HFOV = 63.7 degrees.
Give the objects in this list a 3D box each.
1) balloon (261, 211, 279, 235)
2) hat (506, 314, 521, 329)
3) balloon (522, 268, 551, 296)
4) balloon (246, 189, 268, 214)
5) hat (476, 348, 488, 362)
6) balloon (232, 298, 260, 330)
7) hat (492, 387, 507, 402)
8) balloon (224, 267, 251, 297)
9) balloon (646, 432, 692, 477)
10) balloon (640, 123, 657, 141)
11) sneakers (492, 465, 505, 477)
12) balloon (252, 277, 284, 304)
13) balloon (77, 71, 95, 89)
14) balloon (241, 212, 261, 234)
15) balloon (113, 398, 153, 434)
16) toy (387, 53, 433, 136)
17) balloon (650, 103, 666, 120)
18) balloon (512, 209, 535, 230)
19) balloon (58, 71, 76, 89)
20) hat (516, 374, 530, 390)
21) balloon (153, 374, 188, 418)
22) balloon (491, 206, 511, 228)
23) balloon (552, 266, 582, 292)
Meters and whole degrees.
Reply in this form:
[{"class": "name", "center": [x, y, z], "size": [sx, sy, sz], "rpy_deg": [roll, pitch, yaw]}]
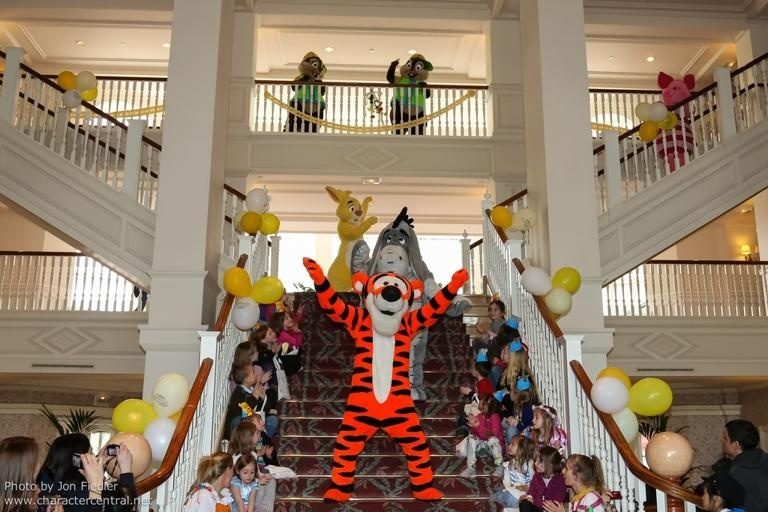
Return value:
[{"class": "balloon", "center": [-1.476, -0.443, 7.993], "size": [0.227, 0.312, 0.513], "rpy_deg": [4, -17, -11]}, {"class": "hat", "center": [1.506, 0.765, 7.206], "size": [0.181, 0.141, 0.140], "rpy_deg": [30, 9, -47]}, {"class": "balloon", "center": [1.763, 0.290, 7.030], "size": [0.352, 0.297, 0.236], "rpy_deg": [0, -17, -1]}, {"class": "balloon", "center": [-1.675, -0.735, 7.955], "size": [0.288, 0.352, 0.288], "rpy_deg": [10, -8, -42]}, {"class": "hat", "center": [1.134, 1.127, 7.068], "size": [0.139, 0.153, 0.144], "rpy_deg": [6, -13, -14]}, {"class": "balloon", "center": [-1.546, 0.660, 6.935], "size": [0.312, 0.386, 0.318], "rpy_deg": [2, -13, -15]}, {"class": "hat", "center": [1.233, 1.468, 6.571], "size": [0.119, 0.146, 0.215], "rpy_deg": [-13, -21, 37]}, {"class": "balloon", "center": [-1.666, 0.287, 7.062], "size": [0.307, 0.361, 0.215], "rpy_deg": [4, -17, -12]}, {"class": "balloon", "center": [2.550, 1.769, 5.501], "size": [0.389, 0.395, 0.299], "rpy_deg": [-5, -18, 16]}, {"class": "balloon", "center": [3.994, -1.848, 9.293], "size": [0.273, 0.298, 0.189], "rpy_deg": [-7, -18, 24]}, {"class": "sneakers", "center": [1.154, 2.171, 6.257], "size": [0.124, 0.122, 0.042], "rpy_deg": [-7, -18, 21]}, {"class": "balloon", "center": [-1.344, 0.383, 7.237], "size": [0.249, 0.342, 0.403], "rpy_deg": [-15, -22, 41]}, {"class": "balloon", "center": [-4.382, -2.581, 9.106], "size": [0.248, 0.262, 0.259], "rpy_deg": [-7, 13, -20]}, {"class": "balloon", "center": [-1.654, -0.421, 7.695], "size": [0.268, 0.278, 0.244], "rpy_deg": [4, -17, -13]}, {"class": "balloon", "center": [-2.533, 1.583, 6.153], "size": [0.348, 0.429, 0.350], "rpy_deg": [5, -12, -4]}, {"class": "toy", "center": [0.516, -3.343, 12.550], "size": [0.867, 2.067, 1.026], "rpy_deg": [0, -17, 1]}, {"class": "balloon", "center": [4.094, -2.146, 9.191], "size": [0.240, 0.236, 0.211], "rpy_deg": [-7, -18, 21]}, {"class": "balloon", "center": [1.843, -0.471, 8.113], "size": [0.240, 0.237, 0.265], "rpy_deg": [0, -20, 1]}, {"class": "balloon", "center": [-4.631, -2.564, 9.042], "size": [0.241, 0.250, 0.151], "rpy_deg": [8, -19, -25]}, {"class": "hat", "center": [1.447, 1.319, 6.474], "size": [0.133, 0.142, 0.121], "rpy_deg": [-7, 4, 28]}, {"class": "balloon", "center": [-2.169, 1.426, 6.196], "size": [0.325, 0.411, 0.317], "rpy_deg": [0, 8, 24]}, {"class": "balloon", "center": [1.584, -0.539, 8.315], "size": [0.289, 0.314, 0.244], "rpy_deg": [-3, -17, 11]}, {"class": "balloon", "center": [2.142, 0.280, 7.221], "size": [0.323, 0.256, 0.244], "rpy_deg": [-13, -11, 34]}]
